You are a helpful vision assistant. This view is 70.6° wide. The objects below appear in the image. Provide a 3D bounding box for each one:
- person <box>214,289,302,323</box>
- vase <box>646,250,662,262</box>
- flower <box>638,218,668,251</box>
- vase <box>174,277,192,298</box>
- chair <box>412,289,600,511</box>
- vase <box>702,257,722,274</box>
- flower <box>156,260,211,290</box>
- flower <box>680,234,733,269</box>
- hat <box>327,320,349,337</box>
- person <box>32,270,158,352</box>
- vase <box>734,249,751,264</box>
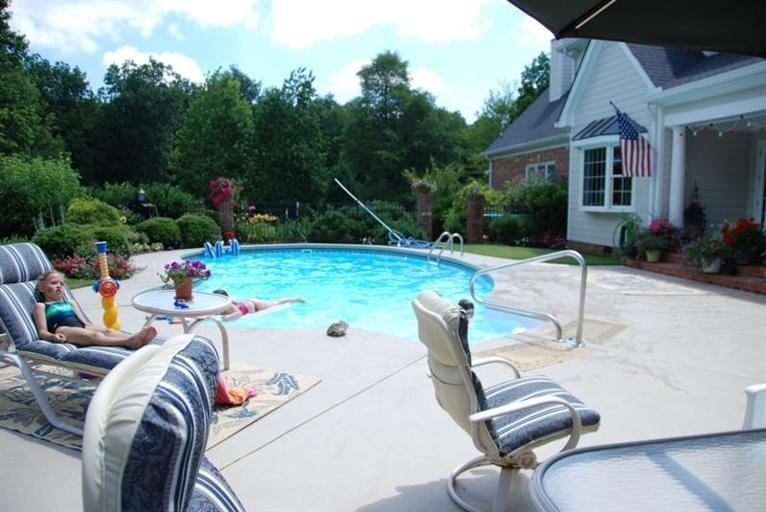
[{"bbox_3d":[-2.460,0.905,10.612,1.275,0.370,0.630,1,6,-39],"label":"person"},{"bbox_3d":[6.976,-0.031,13.940,0.299,0.245,0.318,1,-3,-1],"label":"vase"},{"bbox_3d":[7.068,-0.563,14.133,0.675,0.755,0.624,2,8,26],"label":"flower"},{"bbox_3d":[-3.065,0.488,8.319,0.326,0.346,0.332,2,-2,-23],"label":"vase"},{"bbox_3d":[1.150,1.007,5.698,2.019,2.370,1.618,-10,15,-11],"label":"chair"},{"bbox_3d":[7.323,0.204,12.060,0.313,0.255,0.334,1,-1,4],"label":"vase"},{"bbox_3d":[-3.857,0.372,10.418,0.681,0.401,0.671,0,0,-29],"label":"flower"},{"bbox_3d":[7.252,-0.129,12.189,0.745,0.599,0.779,-5,2,-7],"label":"flower"},{"bbox_3d":[-0.703,1.113,8.362,0.338,0.167,0.441,3,9,38],"label":"hat"},{"bbox_3d":[-3.515,0.645,6.512,1.478,0.869,0.695,4,1,12],"label":"person"},{"bbox_3d":[7.839,0.007,11.778,0.261,0.264,0.270,2,1,-1],"label":"vase"}]
